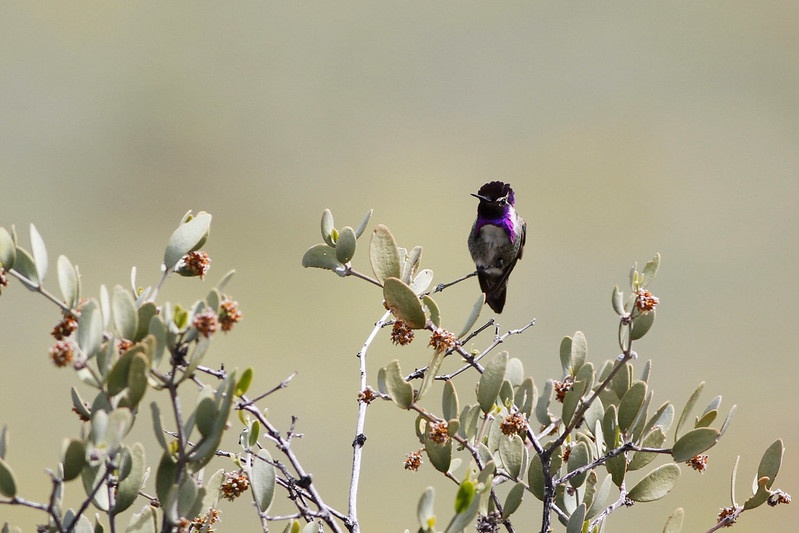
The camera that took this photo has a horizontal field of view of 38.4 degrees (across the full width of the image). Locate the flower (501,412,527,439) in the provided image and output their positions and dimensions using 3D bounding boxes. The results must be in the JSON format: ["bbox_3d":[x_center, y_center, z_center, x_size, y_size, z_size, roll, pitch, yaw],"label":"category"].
[{"bbox_3d":[0.307,0.425,3.038,0.057,0.048,0.064,-13,-46,6],"label":"flower"}]

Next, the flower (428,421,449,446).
[{"bbox_3d":[0.101,0.424,2.940,0.056,0.049,0.061,-5,-52,8],"label":"flower"}]

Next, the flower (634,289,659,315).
[{"bbox_3d":[0.607,0.087,2.834,0.050,0.075,0.028,1,-12,10],"label":"flower"}]
